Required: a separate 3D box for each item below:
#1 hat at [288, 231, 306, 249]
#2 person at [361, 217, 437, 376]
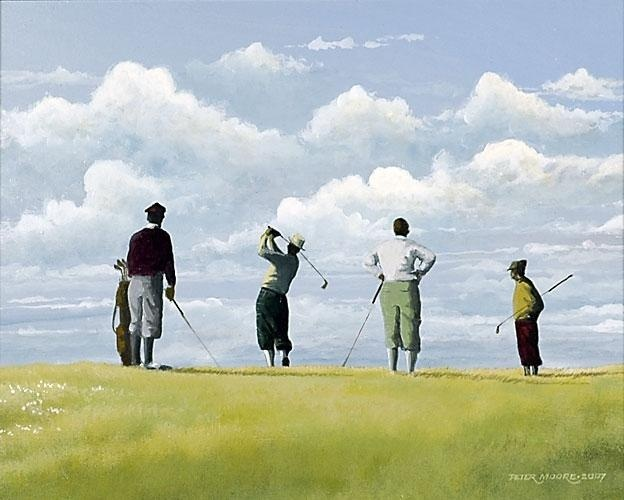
[{"bbox_3d":[-0.215,-0.143,21.013,0.146,0.344,0.379,-31,12,-2],"label":"hat"},{"bbox_3d":[1.454,0.730,20.024,1.050,2.505,0.456,-2,0,8],"label":"person"}]
